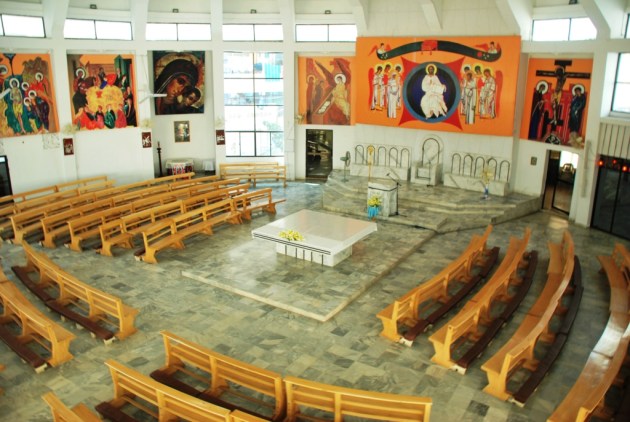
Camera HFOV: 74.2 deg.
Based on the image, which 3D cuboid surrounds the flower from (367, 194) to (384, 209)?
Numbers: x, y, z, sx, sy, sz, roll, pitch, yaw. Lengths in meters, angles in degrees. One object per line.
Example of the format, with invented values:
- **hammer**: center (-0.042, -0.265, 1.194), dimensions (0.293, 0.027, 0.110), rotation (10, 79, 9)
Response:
- **flower**: center (2.153, -0.314, 14.762), dimensions (0.462, 0.447, 0.455), rotation (-3, 9, 22)

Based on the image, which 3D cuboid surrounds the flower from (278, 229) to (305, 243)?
- **flower**: center (-0.592, 0.669, 11.215), dimensions (0.472, 0.150, 0.359), rotation (8, 21, 19)
